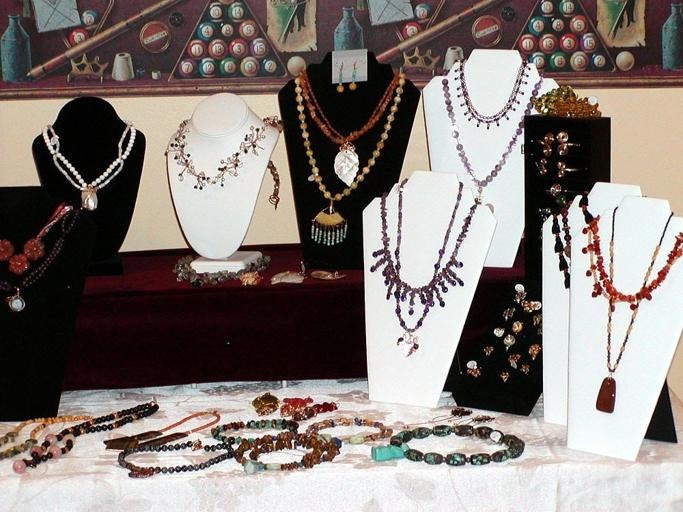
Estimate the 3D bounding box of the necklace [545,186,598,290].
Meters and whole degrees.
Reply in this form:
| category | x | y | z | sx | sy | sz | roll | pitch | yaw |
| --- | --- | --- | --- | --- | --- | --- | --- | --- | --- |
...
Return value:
| category | x | y | z | sx | sy | sz | roll | pitch | yaw |
| --- | --- | --- | --- | --- | --- | --- | --- | --- | --- |
| necklace | 0.709 | -0.053 | 2.265 | 0.167 | 0.307 | 0.069 | 1 | 1 | 0 |

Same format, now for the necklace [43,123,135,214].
| category | x | y | z | sx | sy | sz | roll | pitch | yaw |
| --- | --- | --- | --- | --- | --- | --- | --- | --- | --- |
| necklace | -0.906 | -0.344 | 2.625 | 0.336 | 0.249 | 0.194 | -1 | 20 | -12 |

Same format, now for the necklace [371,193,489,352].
| category | x | y | z | sx | sy | sz | roll | pitch | yaw |
| --- | --- | --- | --- | --- | --- | --- | --- | --- | --- |
| necklace | 0.279 | 0.049 | 2.351 | 0.415 | 0.620 | 0.061 | 5 | -6 | 22 |

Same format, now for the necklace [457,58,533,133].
| category | x | y | z | sx | sy | sz | roll | pitch | yaw |
| --- | --- | --- | --- | --- | --- | --- | --- | --- | --- |
| necklace | 0.566 | -0.571 | 2.609 | 0.254 | 0.281 | 0.029 | 6 | -7 | 7 |

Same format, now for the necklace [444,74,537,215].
| category | x | y | z | sx | sy | sz | roll | pitch | yaw |
| --- | --- | --- | --- | --- | --- | --- | --- | --- | --- |
| necklace | 0.526 | -0.446 | 2.617 | 0.354 | 0.459 | 0.182 | 8 | 19 | 14 |

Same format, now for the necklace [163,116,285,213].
| category | x | y | z | sx | sy | sz | roll | pitch | yaw |
| --- | --- | --- | --- | --- | --- | --- | --- | --- | --- |
| necklace | -0.422 | -0.396 | 2.751 | 0.316 | 0.285 | 0.334 | 9 | 20 | 11 |
